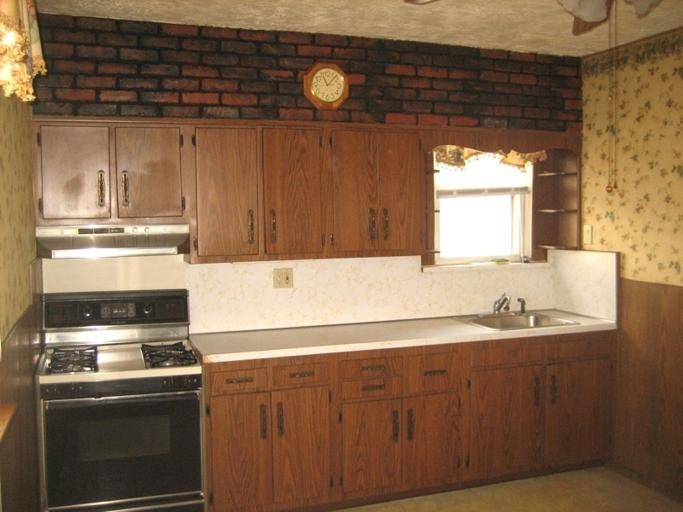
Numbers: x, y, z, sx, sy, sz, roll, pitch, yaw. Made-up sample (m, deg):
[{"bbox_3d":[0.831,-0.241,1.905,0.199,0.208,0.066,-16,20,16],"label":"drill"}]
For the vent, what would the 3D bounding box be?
[{"bbox_3d":[-1.461,-0.090,3.998,0.894,0.239,0.372,-6,6,-26],"label":"vent"}]

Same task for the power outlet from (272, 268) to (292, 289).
[{"bbox_3d":[-0.431,0.161,4.423,0.152,0.148,0.015,0,7,-12],"label":"power outlet"}]

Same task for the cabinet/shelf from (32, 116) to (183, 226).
[{"bbox_3d":[-1.511,-0.542,3.907,0.731,0.590,0.253,0,1,-14],"label":"cabinet/shelf"}]

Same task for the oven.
[{"bbox_3d":[-1.328,1.002,3.829,1.030,0.742,0.606,0,-3,-15],"label":"oven"}]

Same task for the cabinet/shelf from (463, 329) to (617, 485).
[{"bbox_3d":[1.342,1.052,4.370,1.111,0.896,0.417,-1,0,-18],"label":"cabinet/shelf"}]

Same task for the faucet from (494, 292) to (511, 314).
[{"bbox_3d":[1.201,0.371,4.794,0.164,0.159,0.130,-1,8,3],"label":"faucet"}]

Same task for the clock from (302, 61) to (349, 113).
[{"bbox_3d":[-0.125,-1.147,4.217,0.365,0.337,0.049,-2,-4,-14],"label":"clock"}]

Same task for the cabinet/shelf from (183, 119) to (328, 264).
[{"bbox_3d":[-0.611,-0.446,4.118,1.010,0.934,0.355,0,0,-17],"label":"cabinet/shelf"}]

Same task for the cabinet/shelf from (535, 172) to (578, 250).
[{"bbox_3d":[1.748,-0.308,4.866,0.253,0.512,0.364,-2,9,-36],"label":"cabinet/shelf"}]

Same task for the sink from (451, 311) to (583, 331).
[{"bbox_3d":[1.330,0.501,4.724,0.786,0.136,0.399,-3,5,5],"label":"sink"}]
